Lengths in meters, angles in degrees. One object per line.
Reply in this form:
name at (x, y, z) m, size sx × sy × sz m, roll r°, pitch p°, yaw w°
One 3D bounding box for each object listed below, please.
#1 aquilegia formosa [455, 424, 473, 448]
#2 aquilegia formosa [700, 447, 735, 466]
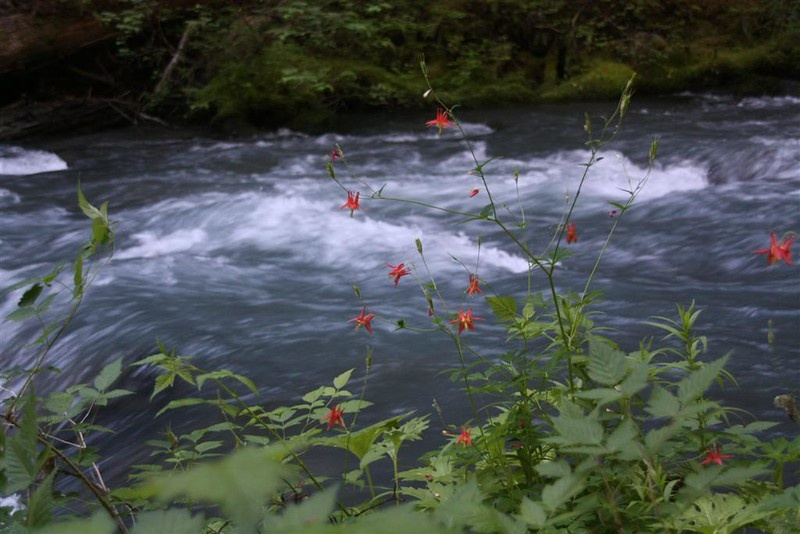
aquilegia formosa at (0.457, 1.193, 5.015) m, size 0.108 × 0.055 × 0.123 m, roll -23°, pitch 50°, yaw 14°
aquilegia formosa at (2.046, 1.232, 4.582) m, size 0.235 × 0.062 × 0.208 m, roll -12°, pitch -5°, yaw -2°
